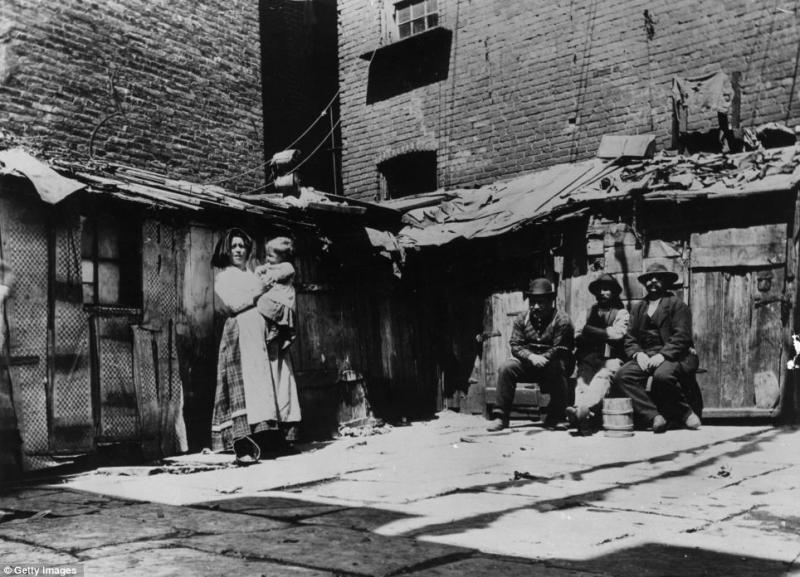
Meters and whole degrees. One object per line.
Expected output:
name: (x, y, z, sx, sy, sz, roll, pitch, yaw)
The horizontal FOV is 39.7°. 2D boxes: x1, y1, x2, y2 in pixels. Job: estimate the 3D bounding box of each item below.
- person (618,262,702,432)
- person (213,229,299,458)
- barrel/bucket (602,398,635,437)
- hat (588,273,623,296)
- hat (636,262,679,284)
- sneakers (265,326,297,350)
person: (3.225, 0.700, 13.642, 0.949, 1.930, 1.058, 5, 12, 35)
person: (-1.773, 0.642, 13.156, 0.892, 2.624, 1.398, 3, 11, 26)
barrel/bucket: (2.655, 1.552, 13.447, 0.409, 0.410, 0.417, -3, -1, 0)
hat: (2.608, -0.078, 14.268, 0.298, 0.147, 0.305, 10, -26, -8)
hat: (3.303, -0.166, 13.977, 0.356, 0.127, 0.334, 20, -21, -31)
sneakers: (-1.461, 0.547, 13.341, 0.301, 0.286, 0.093, -7, 21, -30)
